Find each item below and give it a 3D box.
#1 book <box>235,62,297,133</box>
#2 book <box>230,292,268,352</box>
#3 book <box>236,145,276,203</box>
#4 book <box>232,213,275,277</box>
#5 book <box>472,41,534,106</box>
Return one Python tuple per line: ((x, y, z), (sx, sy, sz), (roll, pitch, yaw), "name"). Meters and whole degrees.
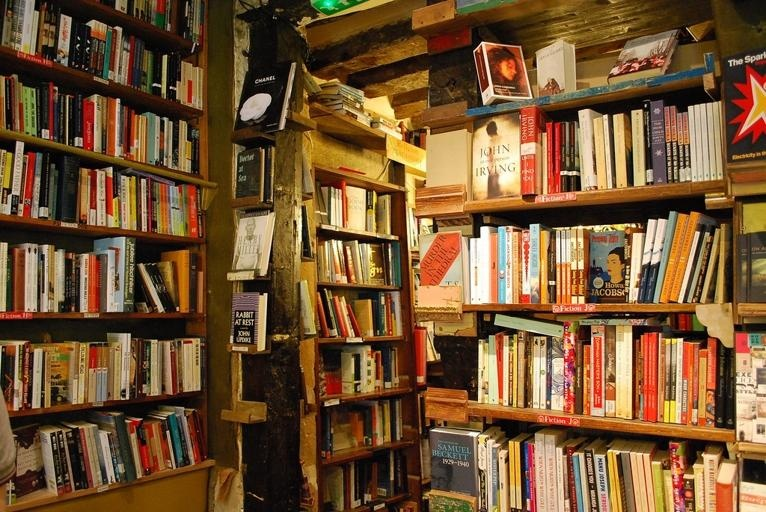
((-0.733, -1.001, 4.346), (0.468, 0.455, 0.108), (-2, -17, 30), "book")
((-0.838, 0.418, 4.185), (0.347, 0.463, 0.158), (-5, -9, 34), "book")
((-0.814, -0.523, 4.274), (0.392, 0.368, 0.217), (0, -3, 9), "book")
((-0.813, -0.065, 4.211), (0.376, 0.464, 0.097), (-6, -23, 34), "book")
((0.791, -1.100, 3.887), (0.119, 0.356, 0.342), (-24, -63, -16), "book")
